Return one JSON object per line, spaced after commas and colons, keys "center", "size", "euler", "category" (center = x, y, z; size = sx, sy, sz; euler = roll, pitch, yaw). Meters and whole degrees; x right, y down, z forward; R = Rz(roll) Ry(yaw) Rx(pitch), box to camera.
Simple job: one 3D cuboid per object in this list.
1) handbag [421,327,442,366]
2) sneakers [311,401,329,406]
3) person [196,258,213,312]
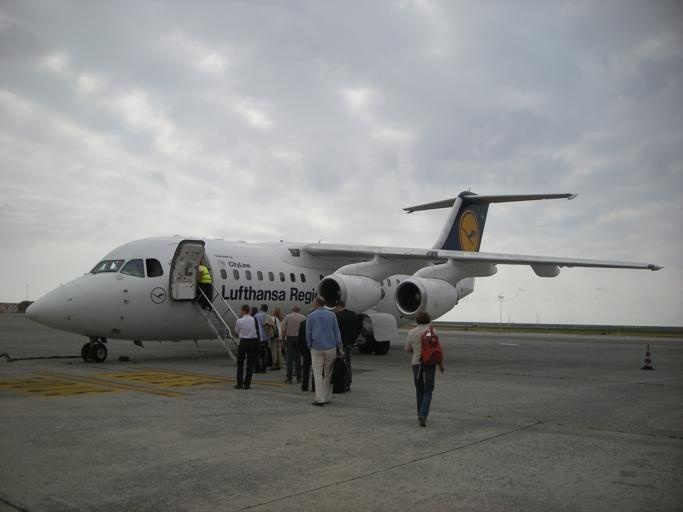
{"center": [1.438, 1.458, 7.639], "size": [0.313, 0.584, 0.394], "euler": [0, -4, 9], "category": "handbag"}
{"center": [-0.374, 2.753, 8.966], "size": [0.291, 0.127, 0.108], "euler": [11, -14, -15], "category": "sneakers"}
{"center": [-4.270, 0.900, 15.037], "size": [0.464, 1.573, 0.688], "euler": [2, -4, -11], "category": "person"}
